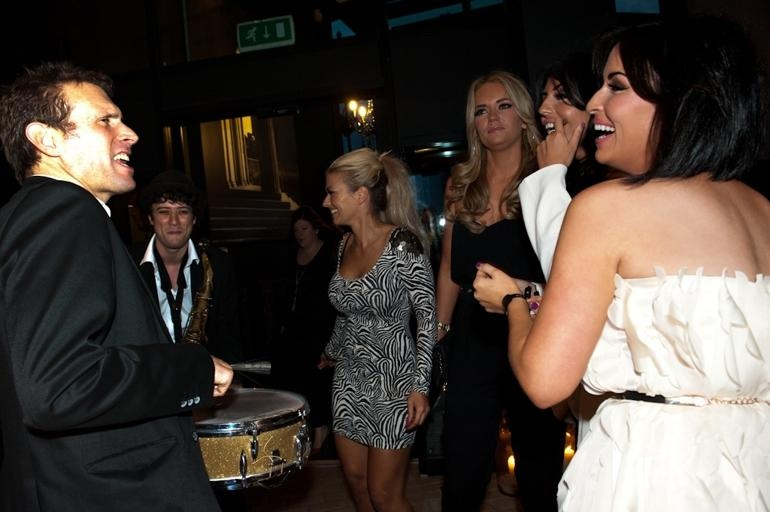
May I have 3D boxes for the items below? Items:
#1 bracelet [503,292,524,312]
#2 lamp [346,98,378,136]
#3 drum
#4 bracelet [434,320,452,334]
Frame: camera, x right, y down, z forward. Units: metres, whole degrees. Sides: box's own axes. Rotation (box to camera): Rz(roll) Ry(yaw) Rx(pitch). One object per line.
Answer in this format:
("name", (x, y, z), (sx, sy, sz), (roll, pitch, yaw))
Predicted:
("bracelet", (0.386, 0.143, 1.773), (0.058, 0.056, 0.030), (6, 28, -21))
("lamp", (-0.388, -2.239, 8.760), (0.461, 0.877, 0.466), (-1, -15, -5))
("drum", (-0.662, 0.815, 2.511), (0.518, 0.259, 0.598), (0, -4, 11))
("bracelet", (0.299, 0.385, 3.043), (0.071, 0.054, 0.074), (5, -8, 11))
